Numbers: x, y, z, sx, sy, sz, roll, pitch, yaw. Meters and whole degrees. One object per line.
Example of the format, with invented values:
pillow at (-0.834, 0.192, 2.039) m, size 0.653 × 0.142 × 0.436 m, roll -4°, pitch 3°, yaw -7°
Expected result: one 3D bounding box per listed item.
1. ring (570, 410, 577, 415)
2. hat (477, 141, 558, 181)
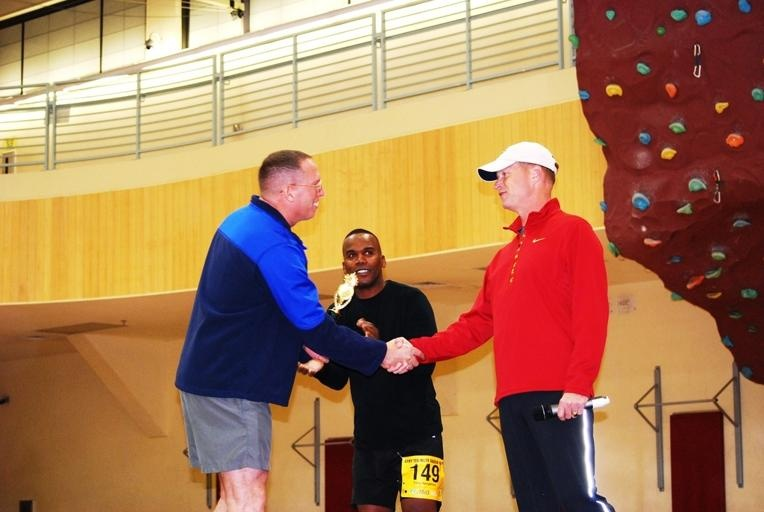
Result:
ring at (1.352, 1.073, 7.087) m, size 0.032 × 0.032 × 0.009 m, roll -3°, pitch 4°, yaw 2°
hat at (1.053, -0.723, 7.708) m, size 0.468 × 0.241 × 0.313 m, roll 6°, pitch -6°, yaw 5°
